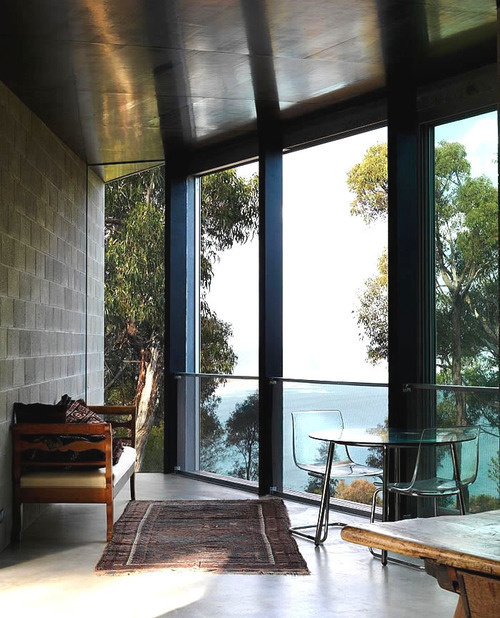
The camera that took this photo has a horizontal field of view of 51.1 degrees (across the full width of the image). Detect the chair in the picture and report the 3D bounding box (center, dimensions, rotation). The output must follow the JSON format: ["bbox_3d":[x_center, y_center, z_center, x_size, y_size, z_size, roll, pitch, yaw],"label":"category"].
[{"bbox_3d":[0.854,1.121,3.620,0.856,0.824,1.167,3,-7,-29],"label":"chair"}]

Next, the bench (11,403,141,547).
[{"bbox_3d":[-1.352,1.101,4.272,0.579,0.796,1.198,0,-1,0],"label":"bench"}]

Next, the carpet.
[{"bbox_3d":[-0.352,1.646,3.804,1.406,0.050,1.391,0,-7,-1],"label":"carpet"}]
